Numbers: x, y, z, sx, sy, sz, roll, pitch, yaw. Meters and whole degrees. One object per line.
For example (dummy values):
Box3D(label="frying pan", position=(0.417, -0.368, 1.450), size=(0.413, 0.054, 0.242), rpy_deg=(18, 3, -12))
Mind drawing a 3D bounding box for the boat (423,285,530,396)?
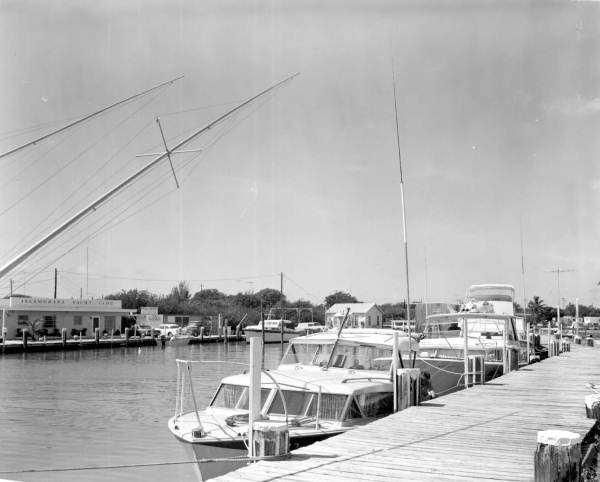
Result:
Box3D(label="boat", position=(7.521, 4.350, 40.135), size=(2.482, 4.516, 9.628), rpy_deg=(0, -1, 20))
